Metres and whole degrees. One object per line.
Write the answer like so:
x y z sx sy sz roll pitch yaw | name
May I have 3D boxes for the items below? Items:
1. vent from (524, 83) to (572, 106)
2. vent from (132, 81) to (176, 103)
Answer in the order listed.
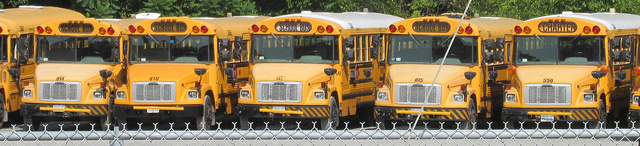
21.144 2.015 75.731 4.156 2.095 0.268 -2 4 5 | vent
-15.449 1.805 76.389 3.942 1.948 0.368 -2 4 -3 | vent
